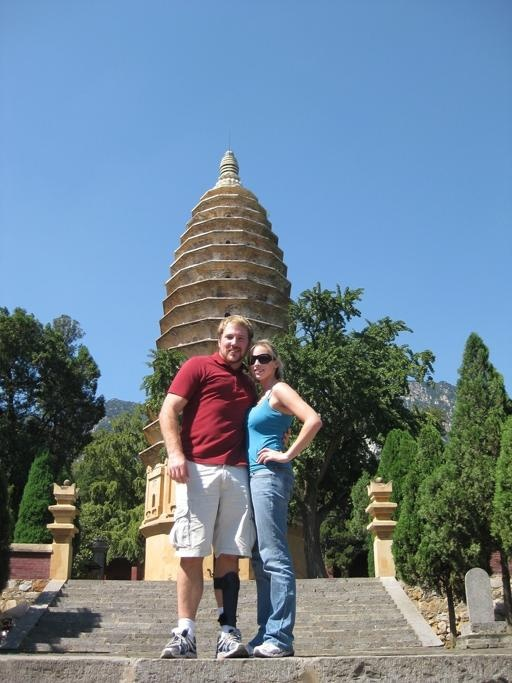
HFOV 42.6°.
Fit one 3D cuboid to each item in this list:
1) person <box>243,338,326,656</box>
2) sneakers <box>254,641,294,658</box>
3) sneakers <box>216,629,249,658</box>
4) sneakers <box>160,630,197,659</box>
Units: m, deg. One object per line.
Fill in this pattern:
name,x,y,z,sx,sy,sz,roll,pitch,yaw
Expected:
person,0.126,0.696,3.226,0.367,1.620,0.640,2,-17,0
sneakers,0.071,1.331,2.801,0.170,0.070,0.239,1,-16,1
sneakers,-0.109,1.338,2.892,0.083,0.100,0.216,5,-28,-9
sneakers,-0.366,1.343,2.902,0.120,0.137,0.317,-2,-27,8
